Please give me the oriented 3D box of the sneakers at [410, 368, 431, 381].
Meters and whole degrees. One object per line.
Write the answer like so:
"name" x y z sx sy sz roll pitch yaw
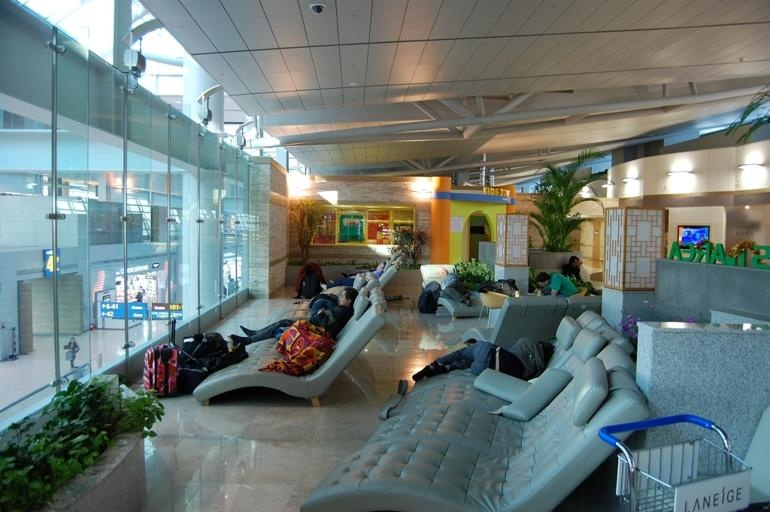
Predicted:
"sneakers" 0.513 1.585 6.762 0.280 0.099 0.145 -20 42 12

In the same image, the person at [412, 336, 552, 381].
"person" 1.204 1.258 6.580 1.749 0.614 0.693 -6 1 33

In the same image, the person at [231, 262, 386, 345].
"person" -1.514 0.795 8.560 2.386 1.129 1.276 -1 -1 11

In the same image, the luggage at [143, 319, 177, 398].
"luggage" -3.057 1.552 6.835 0.452 0.692 0.273 -3 3 -21

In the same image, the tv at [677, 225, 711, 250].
"tv" 7.653 -0.527 12.318 0.131 0.616 0.929 6 -2 -17

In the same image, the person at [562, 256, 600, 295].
"person" 4.928 0.498 12.187 1.095 0.835 1.088 1 3 -5

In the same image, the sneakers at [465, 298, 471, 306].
"sneakers" 1.990 1.095 12.036 0.162 0.176 0.467 1 -6 11

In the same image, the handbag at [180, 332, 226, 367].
"handbag" -2.559 1.318 7.054 0.599 0.175 0.413 0 3 -24

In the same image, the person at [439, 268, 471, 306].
"person" 1.754 0.789 12.462 0.533 0.402 0.905 -6 28 -20

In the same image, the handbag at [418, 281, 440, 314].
"handbag" 1.096 1.004 12.452 0.561 0.723 0.278 -8 -28 37
